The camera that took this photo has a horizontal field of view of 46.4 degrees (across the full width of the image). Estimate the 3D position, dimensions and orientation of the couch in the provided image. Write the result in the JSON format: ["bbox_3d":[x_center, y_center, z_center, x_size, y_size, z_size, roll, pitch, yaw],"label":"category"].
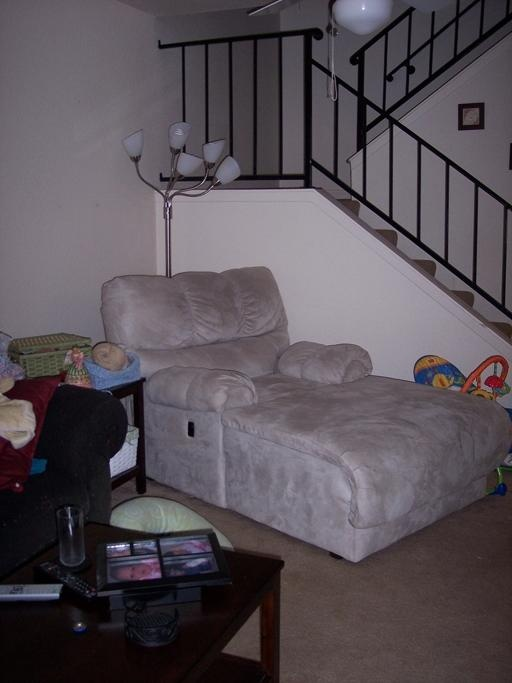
[{"bbox_3d":[0.141,0.231,2.697,1.167,0.998,1.545,-16,23,-41],"label":"couch"}]

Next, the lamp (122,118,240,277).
[{"bbox_3d":[-0.404,-0.651,3.502,0.666,1.025,0.550,-5,13,-33],"label":"lamp"}]

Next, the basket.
[{"bbox_3d":[-0.892,0.051,2.527,0.177,0.119,0.243,11,17,41],"label":"basket"}]

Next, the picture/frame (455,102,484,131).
[{"bbox_3d":[1.602,-1.681,4.453,0.211,0.222,0.015,3,9,22],"label":"picture/frame"}]
